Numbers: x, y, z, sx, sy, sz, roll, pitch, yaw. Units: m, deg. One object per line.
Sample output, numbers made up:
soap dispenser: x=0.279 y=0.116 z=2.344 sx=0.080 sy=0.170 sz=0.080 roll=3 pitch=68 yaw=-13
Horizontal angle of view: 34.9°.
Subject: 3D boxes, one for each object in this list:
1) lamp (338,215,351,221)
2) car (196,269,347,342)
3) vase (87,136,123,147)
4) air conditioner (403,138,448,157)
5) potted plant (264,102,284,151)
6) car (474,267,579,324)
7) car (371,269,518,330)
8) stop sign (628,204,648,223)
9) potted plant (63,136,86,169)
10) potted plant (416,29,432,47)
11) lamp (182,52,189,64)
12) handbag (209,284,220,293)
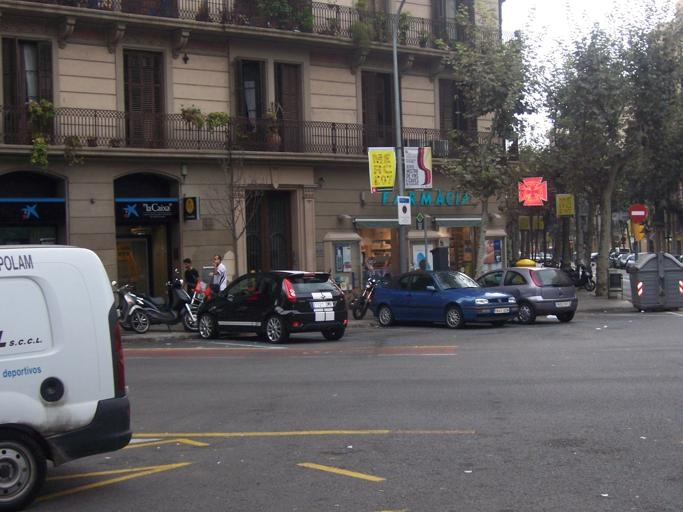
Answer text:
lamp: x=0.074 y=-1.314 z=36.522 sx=0.547 sy=0.223 sz=0.193 roll=-1 pitch=1 yaw=-44
car: x=-1.653 y=1.159 z=26.567 sx=2.694 sy=1.236 sz=1.713 roll=3 pitch=1 yaw=39
vase: x=-6.868 y=-3.311 z=31.617 sx=1.125 sy=0.331 sz=0.348 roll=-1 pitch=1 yaw=-42
air conditioner: x=2.982 y=-3.856 z=38.354 sx=1.839 sy=0.697 sz=0.372 roll=-1 pitch=1 yaw=-33
potted plant: x=-2.243 y=-4.160 z=34.864 sx=0.514 sy=1.629 sz=0.981 roll=-1 pitch=1 yaw=-3
car: x=5.041 y=1.025 z=30.058 sx=1.394 sy=1.119 sz=2.287 roll=-2 pitch=6 yaw=-36
car: x=2.729 y=1.120 z=29.013 sx=1.567 sy=1.191 sz=3.247 roll=1 pitch=-3 yaw=-45
stop sign: x=10.427 y=-1.565 z=38.778 sx=0.563 sy=0.622 sz=0.906 roll=0 pitch=1 yaw=10
potted plant: x=-7.645 y=-2.993 z=30.968 sx=0.535 sy=0.786 sz=0.538 roll=-1 pitch=1 yaw=-15
potted plant: x=2.782 y=-7.609 z=38.277 sx=0.532 sy=0.755 sz=0.518 roll=-1 pitch=-1 yaw=-14
lamp: x=-4.804 y=-6.040 z=33.273 sx=0.241 sy=0.452 sz=0.253 roll=2 pitch=-3 yaw=-2
handbag: x=-3.656 y=0.893 z=31.150 sx=0.346 sy=0.281 sz=0.304 roll=-1 pitch=-2 yaw=32
